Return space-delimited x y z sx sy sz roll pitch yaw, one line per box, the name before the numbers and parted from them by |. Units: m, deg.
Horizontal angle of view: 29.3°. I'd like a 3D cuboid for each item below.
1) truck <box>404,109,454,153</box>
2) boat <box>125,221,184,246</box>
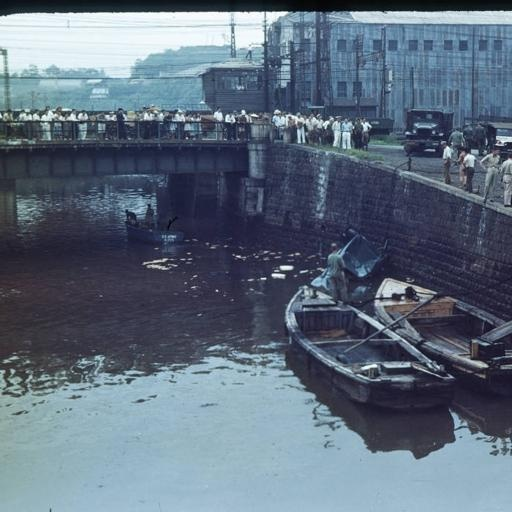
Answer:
truck | 9.325 -6.860 53.866 2.043 2.334 3.755 0 3 15
boat | -5.441 -1.117 51.064 2.884 0.847 1.305 3 10 24
